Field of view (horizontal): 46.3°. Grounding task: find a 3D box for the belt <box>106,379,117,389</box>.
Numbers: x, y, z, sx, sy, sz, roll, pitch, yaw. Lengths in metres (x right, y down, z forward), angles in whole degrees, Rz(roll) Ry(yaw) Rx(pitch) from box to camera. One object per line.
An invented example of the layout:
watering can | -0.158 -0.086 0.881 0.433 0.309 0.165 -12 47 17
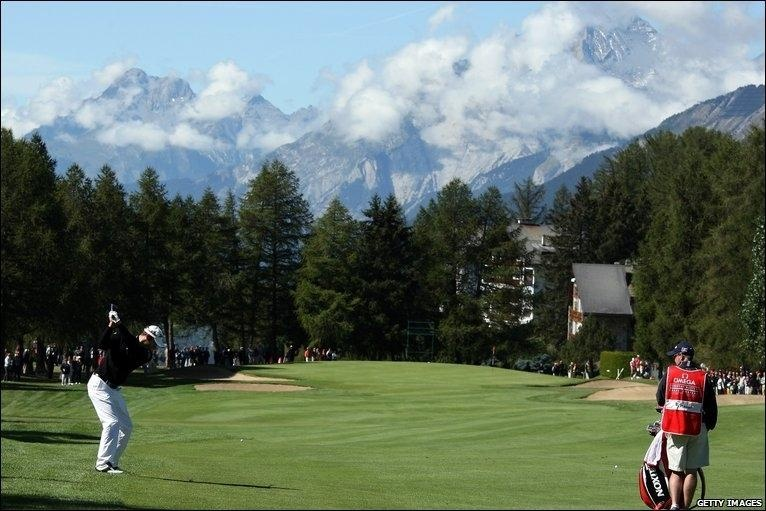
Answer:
belt | -11.712 5.501 38.575 0.405 0.166 0.306 31 4 7

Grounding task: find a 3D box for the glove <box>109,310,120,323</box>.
glove | -11.476 2.592 38.256 0.404 0.505 0.372 8 6 -1
